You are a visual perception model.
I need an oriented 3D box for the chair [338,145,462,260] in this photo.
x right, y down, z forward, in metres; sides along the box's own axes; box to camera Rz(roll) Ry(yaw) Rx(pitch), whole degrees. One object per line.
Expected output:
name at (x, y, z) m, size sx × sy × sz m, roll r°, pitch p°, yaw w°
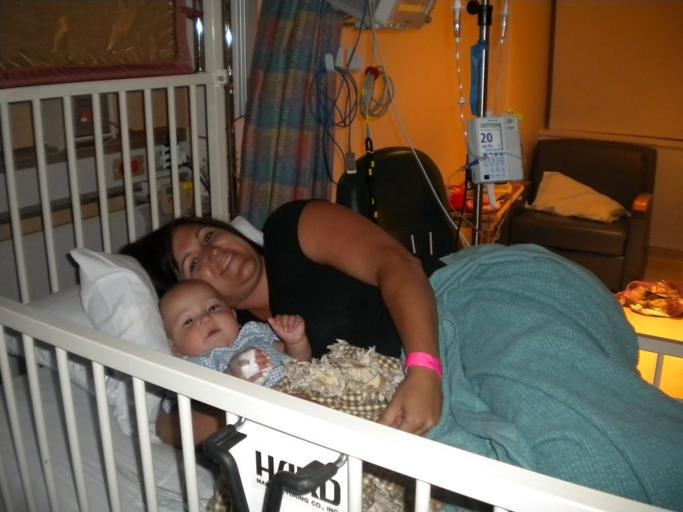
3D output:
chair at (0.271, -0.309, 2.656) m, size 0.432 × 0.624 × 0.515 m, roll -23°, pitch 23°, yaw -6°
